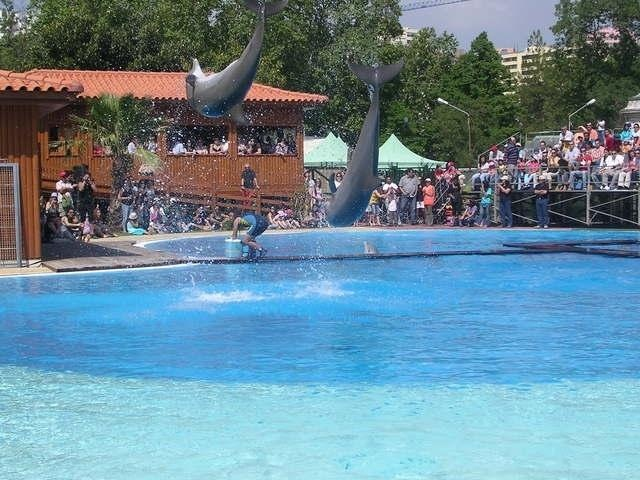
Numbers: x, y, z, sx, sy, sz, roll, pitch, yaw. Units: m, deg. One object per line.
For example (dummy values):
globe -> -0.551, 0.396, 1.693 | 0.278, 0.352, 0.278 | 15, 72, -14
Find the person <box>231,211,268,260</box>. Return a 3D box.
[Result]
person -> -1.726, -0.156, 23.316 | 1.267, 1.392, 0.905 | 3, 4, 37

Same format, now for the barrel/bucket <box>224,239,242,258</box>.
barrel/bucket -> -2.226, 0.207, 23.505 | 0.435, 0.473, 0.440 | 0, 2, 0

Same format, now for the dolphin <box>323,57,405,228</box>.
dolphin -> 0.779, -1.667, 16.687 | 0.934, 3.008, 1.842 | -2, 10, -10
